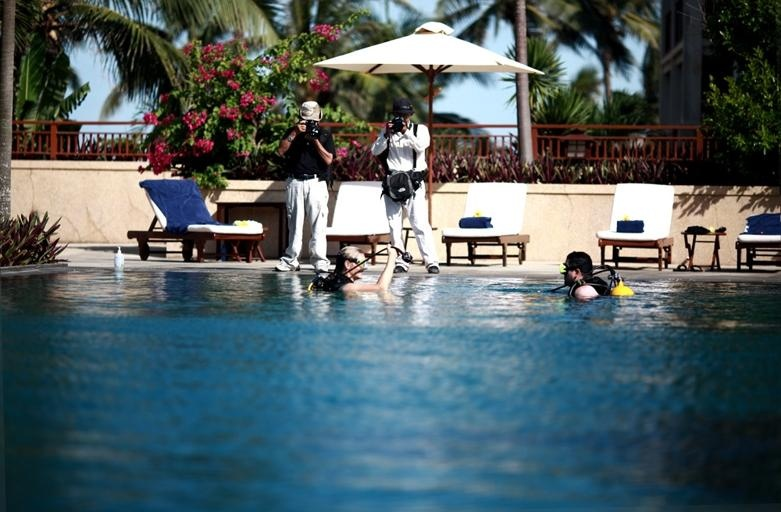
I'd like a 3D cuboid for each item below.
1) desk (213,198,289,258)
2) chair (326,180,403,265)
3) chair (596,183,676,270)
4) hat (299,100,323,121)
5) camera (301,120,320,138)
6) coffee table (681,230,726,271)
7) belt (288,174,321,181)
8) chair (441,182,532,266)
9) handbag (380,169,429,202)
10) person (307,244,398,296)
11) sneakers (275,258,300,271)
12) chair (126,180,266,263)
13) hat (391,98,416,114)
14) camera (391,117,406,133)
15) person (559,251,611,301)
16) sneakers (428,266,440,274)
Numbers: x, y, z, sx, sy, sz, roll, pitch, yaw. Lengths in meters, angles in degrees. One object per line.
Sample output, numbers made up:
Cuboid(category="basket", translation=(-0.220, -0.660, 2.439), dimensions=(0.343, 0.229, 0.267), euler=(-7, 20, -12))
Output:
Cuboid(category="desk", translation=(-2.543, -0.548, 23.012), dimensions=(1.275, 1.024, 1.139), euler=(-3, 7, -13))
Cuboid(category="chair", translation=(-0.604, -0.537, 21.620), dimensions=(1.122, 1.122, 1.426), euler=(-1, 5, 10))
Cuboid(category="chair", translation=(4.140, -0.415, 21.287), dimensions=(0.998, 1.221, 1.399), euler=(2, 1, 22))
Cuboid(category="hat", translation=(-1.232, -2.214, 19.380), dimensions=(0.310, 0.312, 0.470), euler=(0, 2, -5))
Cuboid(category="camera", translation=(-1.204, -1.935, 19.153), dimensions=(0.212, 0.260, 0.267), euler=(-1, -41, -13))
Cuboid(category="coffee table", translation=(5.433, -0.145, 21.803), dimensions=(0.791, 0.716, 0.781), euler=(0, -3, 4))
Cuboid(category="belt", translation=(-1.315, -1.193, 19.260), dimensions=(0.457, 0.084, 0.121), euler=(0, 2, -3))
Cuboid(category="chair", translation=(1.671, -0.486, 21.552), dimensions=(1.106, 1.309, 1.639), euler=(0, 2, 30))
Cuboid(category="handbag", translation=(0.175, -1.124, 19.861), dimensions=(0.434, 0.601, 0.254), euler=(-8, -36, -2))
Cuboid(category="person", translation=(-0.550, 0.179, 17.754), dimensions=(1.207, 0.617, 0.899), euler=(0, 2, -20))
Cuboid(category="sneakers", translation=(-1.596, 0.142, 19.650), dimensions=(0.439, 0.185, 0.159), euler=(1, -1, -18))
Cuboid(category="chair", translation=(-3.352, -0.603, 21.493), dimensions=(2.267, 1.325, 1.313), euler=(4, 3, 43))
Cuboid(category="hat", translation=(0.194, -2.371, 20.004), dimensions=(0.302, 0.286, 0.504), euler=(1, 2, -1))
Cuboid(category="camera", translation=(0.119, -2.051, 19.726), dimensions=(0.227, 0.213, 0.082), euler=(4, 19, 8))
Cuboid(category="person", translation=(2.727, 0.376, 17.553), dimensions=(0.617, 0.818, 0.845), euler=(0, 4, 6))
Cuboid(category="sneakers", translation=(0.673, 0.199, 19.734), dimensions=(0.185, 0.115, 0.187), euler=(1, 2, 4))
